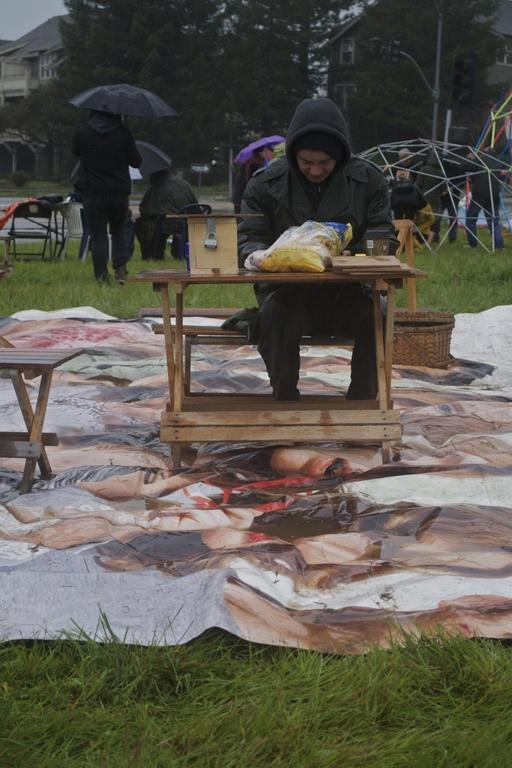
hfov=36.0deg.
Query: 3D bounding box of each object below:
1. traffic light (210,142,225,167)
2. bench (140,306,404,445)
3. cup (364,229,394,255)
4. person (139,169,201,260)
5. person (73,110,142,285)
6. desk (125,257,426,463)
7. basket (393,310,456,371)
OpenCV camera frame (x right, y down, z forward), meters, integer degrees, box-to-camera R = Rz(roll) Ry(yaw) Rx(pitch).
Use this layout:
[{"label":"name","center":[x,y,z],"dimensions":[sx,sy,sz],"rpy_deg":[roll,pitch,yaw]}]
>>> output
[{"label":"traffic light","center":[-2.569,-15.416,52.911],"dimensions":[0.877,1.106,2.599],"rpy_deg":[-2,10,-3]},{"label":"bench","center":[0.116,0.003,4.017],"dimensions":[1.158,0.619,1.054],"rpy_deg":[-2,10,-4]},{"label":"cup","center":[0.605,-0.689,3.826],"dimensions":[0.173,0.151,0.123],"rpy_deg":[2,10,14]},{"label":"person","center":[-1.424,-2.810,13.031],"dimensions":[0.805,1.507,1.227],"rpy_deg":[-10,14,-35]},{"label":"person","center":[-1.890,-2.415,10.139],"dimensions":[0.814,2.200,0.662],"rpy_deg":[-7,13,-25]},{"label":"desk","center":[0.114,0.002,3.893],"dimensions":[1.318,0.761,0.666],"rpy_deg":[0,-10,0]},{"label":"basket","center":[1.325,-0.431,6.167],"dimensions":[0.551,0.442,0.745],"rpy_deg":[3,19,24]}]
